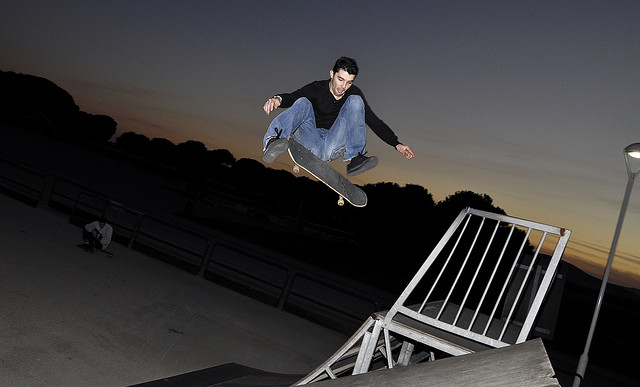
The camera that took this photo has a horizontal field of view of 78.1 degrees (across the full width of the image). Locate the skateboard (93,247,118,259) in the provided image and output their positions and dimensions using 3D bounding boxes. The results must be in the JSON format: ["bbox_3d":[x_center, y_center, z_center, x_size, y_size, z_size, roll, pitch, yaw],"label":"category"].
[{"bbox_3d":[-7.070,2.015,13.237,0.680,0.141,0.417,12,-7,39],"label":"skateboard"}]

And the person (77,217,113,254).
[{"bbox_3d":[-7.397,1.333,13.153,0.892,1.124,0.812,23,-5,-8],"label":"person"}]
